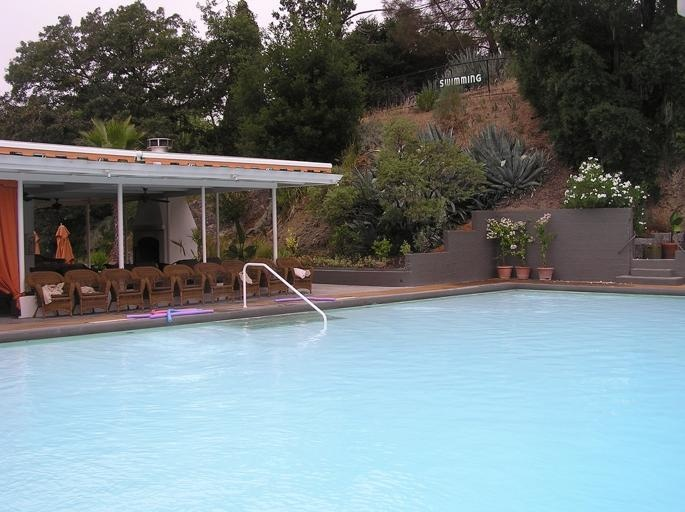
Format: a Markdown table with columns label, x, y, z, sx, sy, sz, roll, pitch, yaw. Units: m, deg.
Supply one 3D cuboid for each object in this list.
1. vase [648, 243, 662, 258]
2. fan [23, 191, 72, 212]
| label | x | y | z | sx | sy | sz | roll | pitch | yaw |
| --- | --- | --- | --- | --- | --- | --- | --- | --- | --- |
| vase | 8.986 | -0.167 | 19.640 | 0.404 | 0.451 | 0.404 | 0 | 0 | 10 |
| fan | -9.144 | -1.703 | 20.982 | 1.264 | 0.301 | 1.294 | -1 | -3 | -11 |
